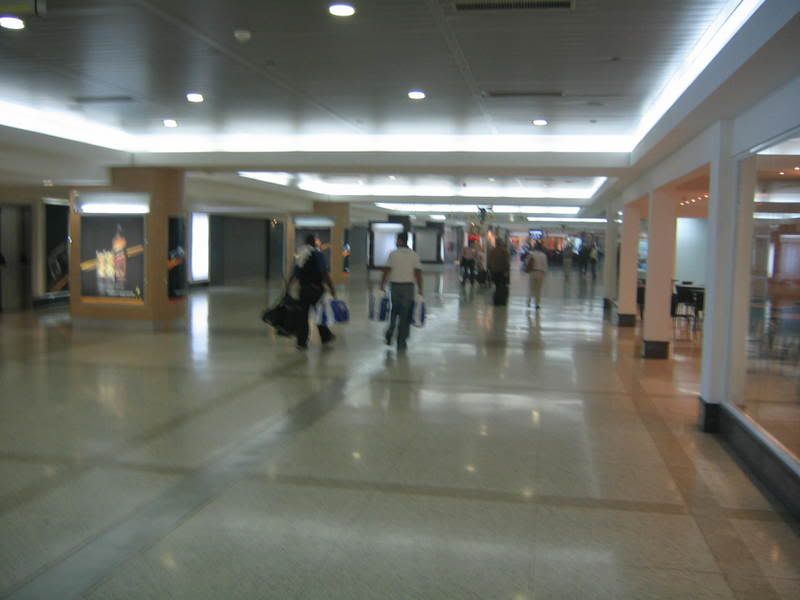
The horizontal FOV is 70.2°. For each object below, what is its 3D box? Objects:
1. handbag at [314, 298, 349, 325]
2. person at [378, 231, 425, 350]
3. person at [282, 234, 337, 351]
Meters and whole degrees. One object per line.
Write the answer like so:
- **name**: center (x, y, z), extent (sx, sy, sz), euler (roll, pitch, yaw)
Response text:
- **handbag**: center (-1.308, 0.226, 11.164), extent (0.559, 0.585, 0.417), euler (3, 3, 24)
- **person**: center (0.029, -0.172, 11.009), extent (0.766, 2.272, 1.521), euler (1, 6, -1)
- **person**: center (-1.753, -0.169, 10.996), extent (0.828, 2.181, 0.547), euler (-1, 6, -13)
